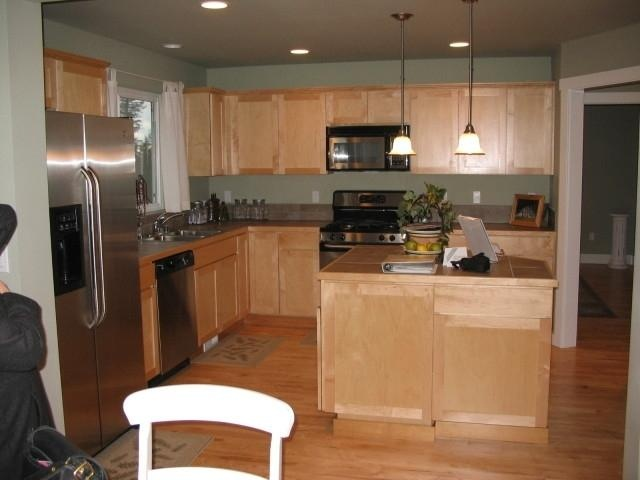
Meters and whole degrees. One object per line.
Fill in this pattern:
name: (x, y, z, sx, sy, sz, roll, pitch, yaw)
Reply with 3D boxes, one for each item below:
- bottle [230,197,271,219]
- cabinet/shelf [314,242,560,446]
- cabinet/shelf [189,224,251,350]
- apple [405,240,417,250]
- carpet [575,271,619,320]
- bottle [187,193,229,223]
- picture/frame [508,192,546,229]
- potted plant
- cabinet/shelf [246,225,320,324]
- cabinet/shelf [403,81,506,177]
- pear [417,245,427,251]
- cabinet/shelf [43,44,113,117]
bottle: (-0.829, -0.368, 6.279, 0.400, 0.249, 0.223, 2, 5, 5)
cabinet/shelf: (0.855, 0.602, 4.029, 1.261, 0.837, 1.299, 1, 7, 12)
cabinet/shelf: (-0.967, 0.470, 5.064, 0.561, 0.886, 1.065, 0, 8, 9)
apple: (0.658, 0.038, 3.801, 0.061, 0.083, 0.061, -4, 1, -30)
carpet: (3.414, 0.716, 6.552, 0.375, 0.096, 1.683, 5, 11, 26)
bottle: (-1.266, -0.359, 6.079, 0.333, 0.313, 0.639, 2, 10, 12)
picture/frame: (2.200, -0.307, 5.574, 0.032, 0.417, 0.410, 12, -6, -28)
potted plant: (0.873, -0.265, 4.463, 0.393, 0.474, 1.553, 1, 10, 9)
cabinet/shelf: (-0.379, 0.333, 5.721, 0.932, 1.258, 0.635, 1, 8, 5)
cabinet/shelf: (1.384, -1.147, 5.341, 1.022, 0.919, 0.340, 1, 5, 8)
pear: (0.733, 0.058, 3.785, 0.039, 0.039, 0.041, 1, 2, 33)
cabinet/shelf: (-1.618, -1.054, 3.563, 0.110, 0.383, 0.600, 2, 11, 17)
